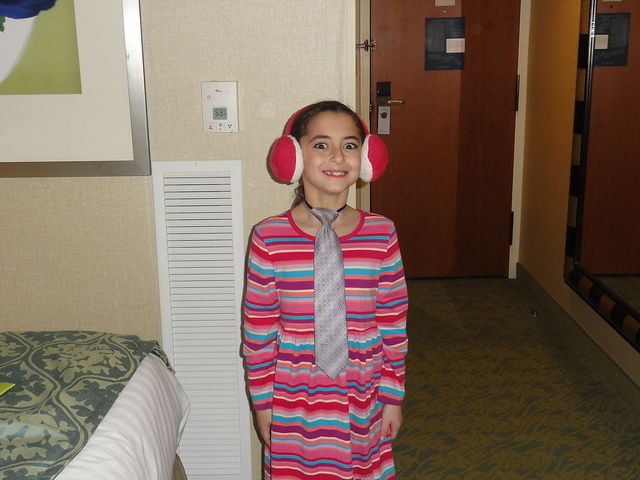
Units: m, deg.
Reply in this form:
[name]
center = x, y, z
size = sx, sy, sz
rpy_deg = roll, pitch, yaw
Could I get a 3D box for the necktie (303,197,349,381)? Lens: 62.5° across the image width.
[necktie]
center = 0.028, 0.150, 1.457
size = 0.129, 0.508, 0.040
rpy_deg = 0, 10, 16
